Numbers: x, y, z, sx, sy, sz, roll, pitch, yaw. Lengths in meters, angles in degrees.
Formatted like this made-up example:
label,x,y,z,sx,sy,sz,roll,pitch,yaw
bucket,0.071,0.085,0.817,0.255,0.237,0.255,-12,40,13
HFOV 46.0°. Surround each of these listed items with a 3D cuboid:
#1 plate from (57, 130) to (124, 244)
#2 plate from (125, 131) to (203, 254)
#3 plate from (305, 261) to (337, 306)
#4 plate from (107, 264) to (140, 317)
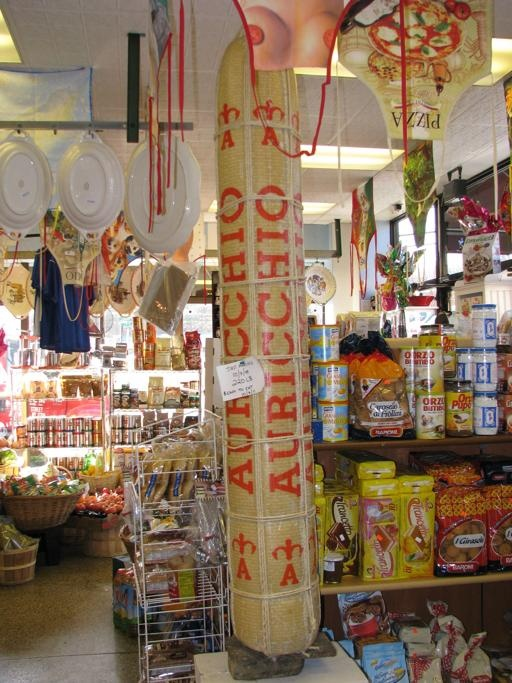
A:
label,x,y,z,sx,sy,sz,roll,pitch,yaw
plate,-0.814,-0.783,3.003,0.360,0.480,0.133,-4,14,-8
plate,-0.329,-0.570,2.548,0.449,0.521,0.100,4,5,44
plate,0.730,-0.642,6.777,0.311,0.487,0.375,-1,-5,7
plate,-1.316,-0.513,6.058,0.296,0.498,0.186,13,12,6
